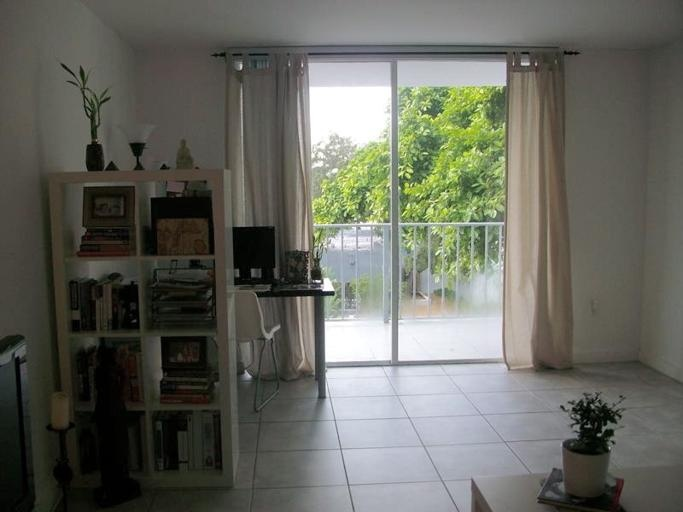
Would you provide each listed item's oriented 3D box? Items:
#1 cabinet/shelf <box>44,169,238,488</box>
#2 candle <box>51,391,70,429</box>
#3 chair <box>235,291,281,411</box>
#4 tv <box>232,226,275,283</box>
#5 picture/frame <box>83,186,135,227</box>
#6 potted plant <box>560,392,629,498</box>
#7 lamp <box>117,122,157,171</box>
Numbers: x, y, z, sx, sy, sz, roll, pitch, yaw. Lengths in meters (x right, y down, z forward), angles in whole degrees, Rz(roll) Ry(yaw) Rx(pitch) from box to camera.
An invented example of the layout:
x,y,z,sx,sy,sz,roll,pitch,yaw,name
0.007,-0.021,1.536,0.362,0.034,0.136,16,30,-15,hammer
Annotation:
x,y,z,sx,sy,sz,roll,pitch,yaw,name
-1.167,0.421,3.457,1.013,1.862,0.526,-1,12,-2,cabinet/shelf
-1.468,0.805,2.966,0.087,0.179,0.083,-3,12,-11,candle
-0.660,0.657,4.494,0.348,0.915,0.788,-2,13,-7,chair
-0.738,-0.028,4.701,0.366,0.469,0.242,-2,14,-28,tv
-1.365,-0.291,3.348,0.205,0.200,0.031,0,1,-2,picture/frame
1.143,0.852,2.554,0.191,0.455,0.234,6,-11,-7,potted plant
-1.368,-0.716,3.817,0.222,0.305,0.239,-1,0,22,lamp
